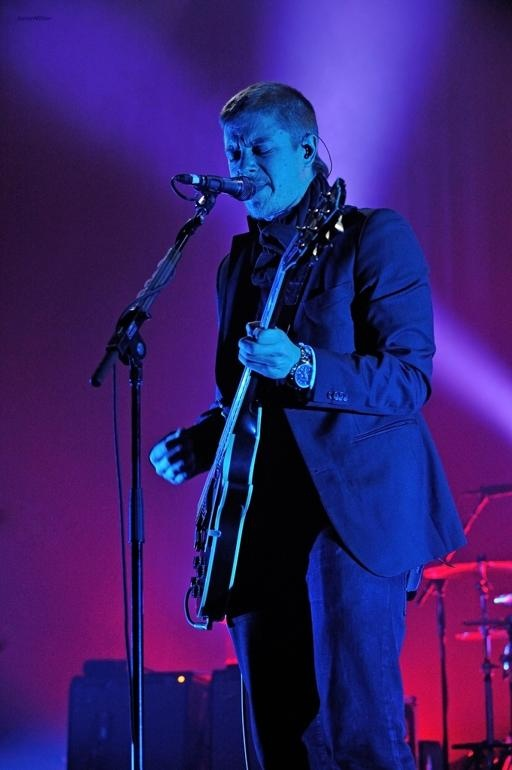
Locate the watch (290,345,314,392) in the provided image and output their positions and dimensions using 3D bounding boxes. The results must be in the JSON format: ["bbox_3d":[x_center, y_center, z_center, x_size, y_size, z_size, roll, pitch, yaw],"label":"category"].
[{"bbox_3d":[0.094,-0.034,1.812,0.024,0.080,0.062,13,15,41],"label":"watch"}]

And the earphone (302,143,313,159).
[{"bbox_3d":[0.134,-0.622,2.348,0.027,0.039,0.010,1,4,-14],"label":"earphone"}]
